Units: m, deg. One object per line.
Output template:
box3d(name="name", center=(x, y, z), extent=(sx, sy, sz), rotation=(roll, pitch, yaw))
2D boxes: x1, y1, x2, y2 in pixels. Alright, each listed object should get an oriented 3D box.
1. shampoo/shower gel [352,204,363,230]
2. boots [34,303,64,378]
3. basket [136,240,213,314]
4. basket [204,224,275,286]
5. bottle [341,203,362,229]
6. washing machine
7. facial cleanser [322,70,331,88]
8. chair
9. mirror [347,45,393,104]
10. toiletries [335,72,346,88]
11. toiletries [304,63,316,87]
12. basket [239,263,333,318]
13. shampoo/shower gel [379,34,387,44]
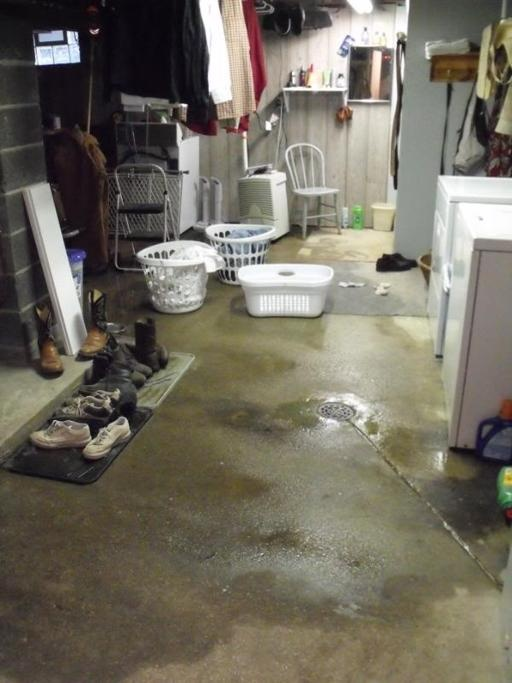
box3d(name="shampoo/shower gel", center=(1.264, -1.551, 6.434), extent=(0.149, 0.284, 0.223), rotation=(3, 18, 11))
box3d(name="boots", center=(-1.110, -0.004, 2.777), extent=(0.110, 0.256, 0.370), rotation=(-11, 50, -18))
box3d(name="basket", center=(-0.577, -0.425, 3.963), extent=(0.543, 0.449, 0.571), rotation=(-13, 29, -26))
box3d(name="basket", center=(-0.093, -0.736, 4.456), extent=(0.581, 0.481, 0.557), rotation=(10, 10, 22))
box3d(name="bottle", center=(1.193, -1.579, 6.448), extent=(0.259, 0.304, 0.155), rotation=(5, 19, 21))
box3d(name="washing machine", center=(-1.093, -1.856, 5.895), extent=(0.627, 1.241, 1.211), rotation=(7, 22, 2))
box3d(name="facial cleanser", center=(0.818, -3.055, 6.000), extent=(0.085, 0.202, 0.148), rotation=(8, 19, 26))
box3d(name="chair", center=(0.689, -1.865, 6.328), extent=(0.539, 1.097, 0.557), rotation=(-17, 24, -33))
box3d(name="mirror", center=(1.317, -3.096, 5.969), extent=(0.525, 0.650, 0.057), rotation=(11, 53, 18))
box3d(name="toiletries", center=(0.976, -3.041, 6.002), extent=(0.124, 0.148, 0.046), rotation=(2, 17, 6))
box3d(name="toiletries", center=(0.618, -3.091, 6.002), extent=(0.102, 0.252, 0.146), rotation=(2, 17, 7))
box3d(name="basket", center=(0.206, -0.370, 3.827), extent=(0.684, 0.349, 0.409), rotation=(1, 18, 4))
box3d(name="shampoo/shower gel", center=(1.415, -3.403, 5.798), extent=(0.084, 0.142, 0.050), rotation=(2, 17, 9))
